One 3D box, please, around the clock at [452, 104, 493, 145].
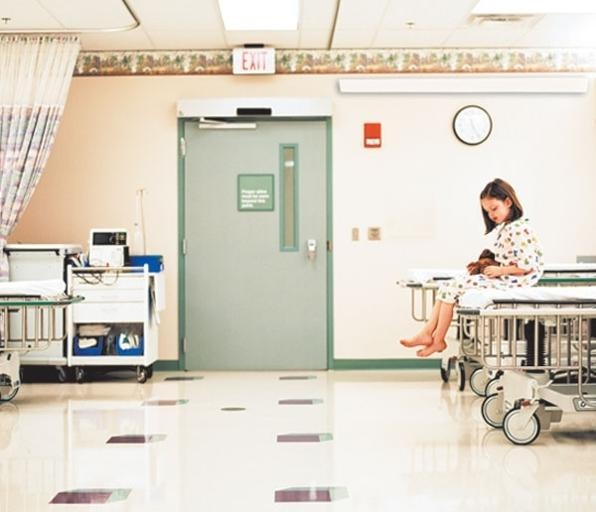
[{"bbox_3d":[1.542,-1.172,5.420,0.341,0.352,0.044,0,1,-9],"label":"clock"}]
